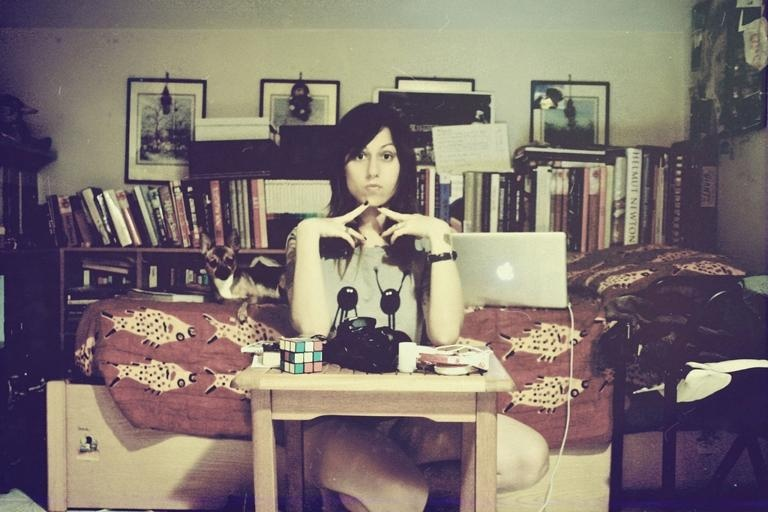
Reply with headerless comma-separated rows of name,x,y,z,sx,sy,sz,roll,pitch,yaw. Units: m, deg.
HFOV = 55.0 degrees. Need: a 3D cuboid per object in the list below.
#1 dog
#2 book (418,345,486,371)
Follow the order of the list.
dog,-0.771,0.114,4.132,0.257,0.423,0.719,-15,-24,30
book,0.305,0.443,3.245,0.219,0.073,0.130,1,-4,-1
